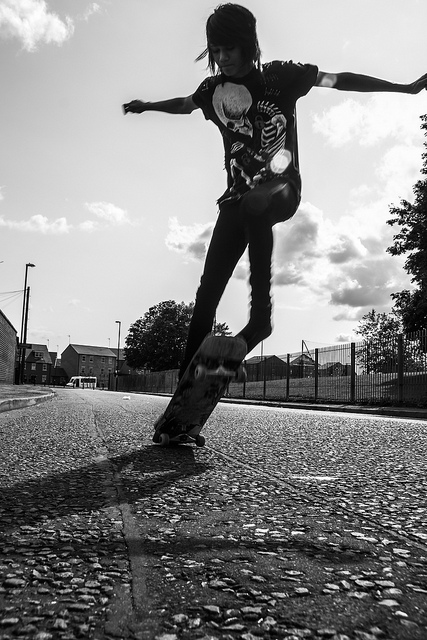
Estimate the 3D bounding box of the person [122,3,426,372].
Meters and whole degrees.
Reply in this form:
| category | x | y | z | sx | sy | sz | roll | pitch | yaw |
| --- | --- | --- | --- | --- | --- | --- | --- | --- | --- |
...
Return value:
| category | x | y | z | sx | sy | sz | roll | pitch | yaw |
| --- | --- | --- | --- | --- | --- | --- | --- | --- | --- |
| person | 0.172 | -0.763 | 2.811 | 1.334 | 2.170 | 0.676 | -1 | -6 | 38 |

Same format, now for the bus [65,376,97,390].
| category | x | y | z | sx | sy | sz | roll | pitch | yaw |
| --- | --- | --- | --- | --- | --- | --- | --- | --- | --- |
| bus | -27.813 | 13.100 | 95.033 | 4.927 | 1.810 | 9.382 | 4 | -5 | -11 |

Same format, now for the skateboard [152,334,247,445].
| category | x | y | z | sx | sy | sz | roll | pitch | yaw |
| --- | --- | --- | --- | --- | --- | --- | --- | --- | --- |
| skateboard | -0.118 | 0.496 | 3.057 | 0.356 | 0.203 | 1.207 | 12 | -45 | -13 |
